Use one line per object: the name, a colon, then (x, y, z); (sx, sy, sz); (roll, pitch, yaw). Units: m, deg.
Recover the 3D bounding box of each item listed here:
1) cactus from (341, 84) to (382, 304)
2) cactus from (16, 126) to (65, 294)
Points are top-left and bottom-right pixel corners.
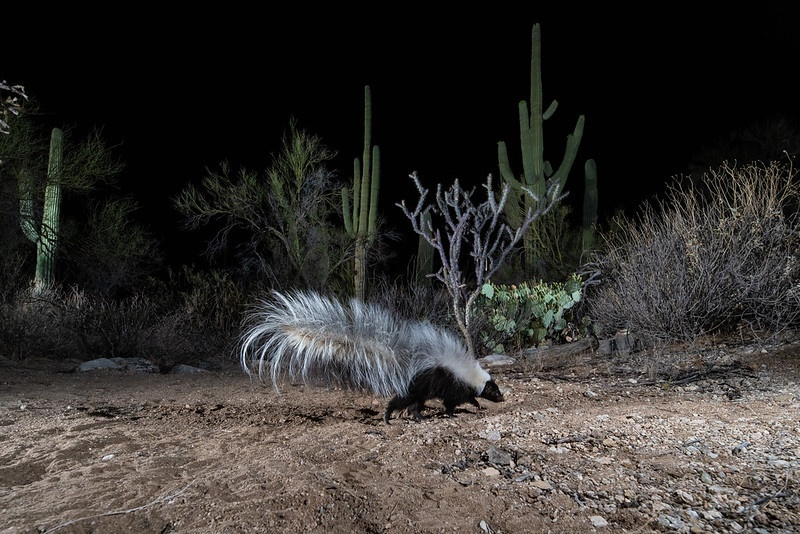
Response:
cactus: (-1.078, -2.040, 14.374); (0.972, 5.306, 2.464); (-2, 12, -2)
cactus: (-8.635, -1.388, 13.222); (1.088, 3.739, 1.042); (-11, 15, -37)
